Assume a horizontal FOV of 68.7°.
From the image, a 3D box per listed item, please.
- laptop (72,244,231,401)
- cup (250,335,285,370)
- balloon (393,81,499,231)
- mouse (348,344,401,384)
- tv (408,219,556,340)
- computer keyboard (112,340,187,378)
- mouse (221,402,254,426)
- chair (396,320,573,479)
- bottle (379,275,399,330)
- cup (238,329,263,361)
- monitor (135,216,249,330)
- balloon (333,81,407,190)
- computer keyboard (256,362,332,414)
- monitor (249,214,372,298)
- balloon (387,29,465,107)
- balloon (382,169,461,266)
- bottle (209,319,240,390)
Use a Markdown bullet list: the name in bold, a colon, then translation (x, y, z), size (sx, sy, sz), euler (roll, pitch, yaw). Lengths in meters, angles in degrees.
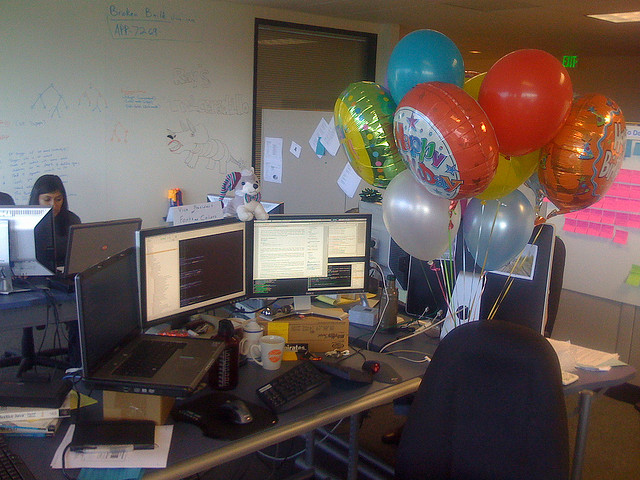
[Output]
- **laptop**: translation (-0.633, 0.275, 1.793), size (0.385, 0.429, 0.476), euler (0, 9, 0)
- **cup**: translation (-0.238, 0.492, 2.025), size (0.159, 0.119, 0.103), euler (3, 1, -33)
- **balloon**: translation (0.470, -0.372, 1.755), size (0.396, 0.437, 0.205), euler (3, 11, 16)
- **mouse**: translation (0.247, 0.529, 2.011), size (0.149, 0.080, 0.123), euler (-5, 18, -39)
- **tv**: translation (0.790, 0.182, 2.271), size (0.540, 0.551, 0.300), euler (9, 9, 22)
- **computer keyboard**: translation (-0.634, 0.455, 1.802), size (0.274, 0.024, 0.501), euler (4, 4, -2)
- **mouse**: translation (-0.296, 0.624, 1.722), size (0.103, 0.035, 0.060), euler (18, 20, 39)
- **chair**: translation (0.603, 0.549, 1.765), size (0.462, 0.688, 0.562), euler (0, 2, 45)
- **bottle**: translation (0.376, 0.318, 2.482), size (0.083, 0.272, 0.176), euler (10, 14, 43)
- **cup**: translation (-0.320, 0.459, 2.056), size (0.127, 0.135, 0.077), euler (-1, 6, -22)
- **monitor**: translation (-0.560, 0.116, 2.039), size (0.128, 0.490, 0.570), euler (17, 18, 41)
- **balloon**: translation (0.206, -0.440, 2.069), size (0.227, 0.421, 0.324), euler (-29, -6, -3)
- **computer keyboard**: translation (-0.101, 0.589, 1.877), size (0.288, 0.086, 0.142), euler (-9, 14, -41)
- **monitor**: translation (-0.046, 0.073, 2.315), size (0.618, 0.414, 0.024), euler (-3, 10, -15)
- **balloon**: translation (0.461, -0.701, 2.028), size (0.281, 0.359, 0.291), euler (2, 13, 29)
- **balloon**: translation (0.399, -0.104, 1.991), size (0.255, 0.409, 0.269), euler (2, 19, -5)
- **bottle**: translation (-0.395, 0.477, 1.938), size (0.158, 0.284, 0.164), euler (2, -3, 0)
